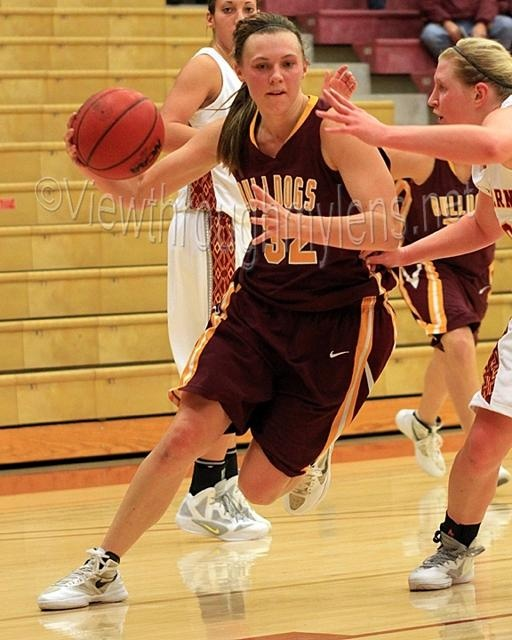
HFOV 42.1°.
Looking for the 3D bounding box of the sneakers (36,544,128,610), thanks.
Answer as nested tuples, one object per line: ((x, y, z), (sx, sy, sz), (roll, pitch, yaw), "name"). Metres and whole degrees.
((-0.335, 0.547, 1.437), (0.265, 0.132, 0.086), (1, 0, -16), "sneakers")

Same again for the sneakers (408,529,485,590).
((0.435, 0.542, 1.521), (0.240, 0.109, 0.081), (7, -1, -40), "sneakers")

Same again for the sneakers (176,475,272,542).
((-0.085, 0.542, 1.979), (0.228, 0.146, 0.252), (13, -7, 0), "sneakers")

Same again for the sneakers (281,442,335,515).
((0.146, 0.436, 1.796), (0.091, 0.235, 0.100), (43, 36, 18), "sneakers")
